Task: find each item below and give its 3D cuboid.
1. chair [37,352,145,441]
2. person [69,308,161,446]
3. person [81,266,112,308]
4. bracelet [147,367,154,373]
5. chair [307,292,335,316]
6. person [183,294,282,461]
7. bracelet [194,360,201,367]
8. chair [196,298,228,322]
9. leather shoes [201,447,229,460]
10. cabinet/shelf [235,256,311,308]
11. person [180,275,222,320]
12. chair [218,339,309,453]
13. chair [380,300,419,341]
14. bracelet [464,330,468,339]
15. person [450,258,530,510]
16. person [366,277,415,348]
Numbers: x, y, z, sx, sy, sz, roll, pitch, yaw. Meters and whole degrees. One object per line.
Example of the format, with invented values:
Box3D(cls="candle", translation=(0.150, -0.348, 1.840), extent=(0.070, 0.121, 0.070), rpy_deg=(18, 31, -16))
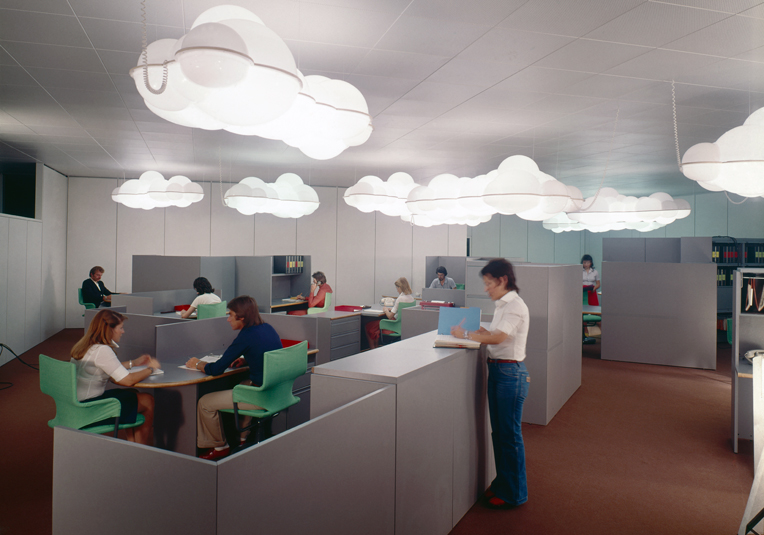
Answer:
Box3D(cls="chair", translation=(-2.722, 1.135, 5.098), extent=(0.683, 0.646, 0.841), rpy_deg=(7, 2, 30))
Box3D(cls="person", translation=(-2.533, 1.167, 5.238), extent=(0.833, 1.461, 0.639), rpy_deg=(-1, -2, -38))
Box3D(cls="person", translation=(-5.534, 0.391, 10.600), extent=(0.581, 0.770, 0.502), rpy_deg=(10, 9, 15))
Box3D(cls="bracelet", translation=(-2.233, 0.984, 5.230), extent=(0.048, 0.046, 0.049), rpy_deg=(-2, 12, -11))
Box3D(cls="chair", translation=(-0.952, 0.647, 9.394), extent=(0.400, 0.509, 0.348), rpy_deg=(0, -3, 14))
Box3D(cls="person", translation=(-1.520, 1.177, 5.764), extent=(0.949, 1.724, 0.791), rpy_deg=(0, 0, 9))
Box3D(cls="bracelet", translation=(-1.900, 0.986, 5.599), extent=(0.051, 0.052, 0.054), rpy_deg=(-1, 4, -16))
Box3D(cls="chair", translation=(-2.419, 0.611, 7.678), extent=(0.290, 0.386, 0.294), rpy_deg=(-7, 13, -41))
Box3D(cls="leather shoes", translation=(-1.708, 1.898, 5.567), extent=(0.213, 0.080, 0.218), rpy_deg=(2, -3, -3))
Box3D(cls="cabinet/shelf", translation=(-2.098, 0.372, 11.191), extent=(0.675, 1.104, 1.907), rpy_deg=(-1, 1, 19))
Box3D(cls="person", translation=(-2.807, 0.572, 8.540), extent=(0.767, 0.795, 0.568), rpy_deg=(-6, -9, 33))
Box3D(cls="chair", translation=(-1.125, 1.324, 5.438), extent=(0.808, 1.072, 0.804), rpy_deg=(-4, 0, -11))
Box3D(cls="chair", translation=(0.173, 0.907, 8.732), extent=(0.599, 0.797, 0.598), rpy_deg=(2, 2, 29))
Box3D(cls="bracelet", translation=(0.747, 0.595, 4.804), extent=(0.045, 0.052, 0.044), rpy_deg=(-2, 3, -32))
Box3D(cls="person", translation=(1.066, 1.052, 4.923), extent=(0.561, 2.208, 0.511), rpy_deg=(4, 9, 27))
Box3D(cls="person", translation=(0.158, 0.857, 9.047), extent=(0.721, 1.356, 0.580), rpy_deg=(3, 4, 29))
